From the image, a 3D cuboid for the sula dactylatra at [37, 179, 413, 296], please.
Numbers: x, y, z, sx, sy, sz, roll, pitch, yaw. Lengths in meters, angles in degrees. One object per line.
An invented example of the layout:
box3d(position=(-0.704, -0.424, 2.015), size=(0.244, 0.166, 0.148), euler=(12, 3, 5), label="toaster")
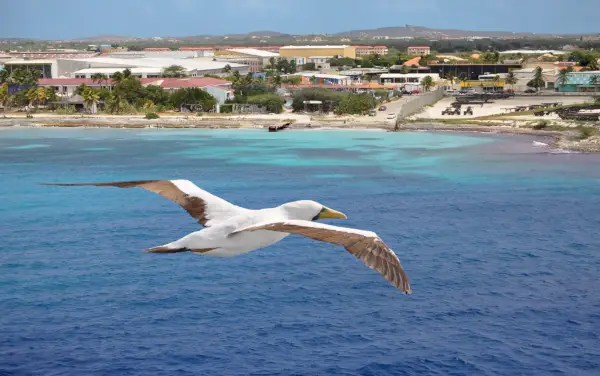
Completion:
box3d(position=(-2.123, 2.285, 54.166), size=(16.154, 5.145, 2.914), euler=(2, 12, 11), label="sula dactylatra")
